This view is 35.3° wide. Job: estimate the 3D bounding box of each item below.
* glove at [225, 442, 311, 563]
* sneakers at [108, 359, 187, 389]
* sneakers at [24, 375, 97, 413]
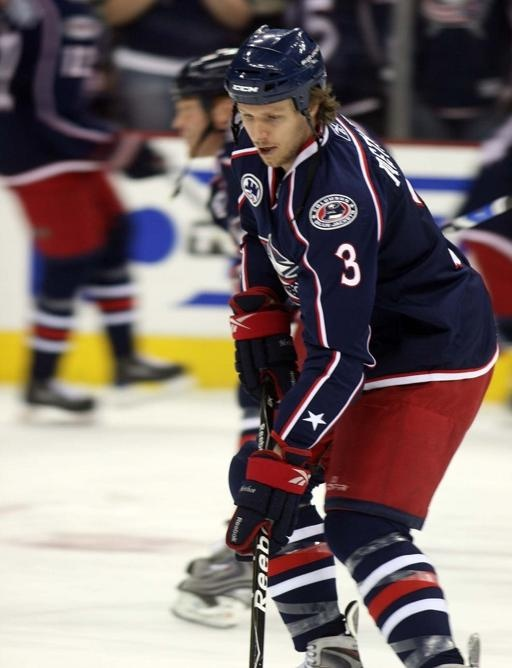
[{"bbox_3d":[0.054,0.296,1.401,0.168,0.171,0.138,12,-8,-12],"label":"glove"},{"bbox_3d":[-0.591,0.212,4.305,0.440,0.137,0.127,-4,3,-7],"label":"sneakers"},{"bbox_3d":[-1.011,0.325,4.071,0.464,0.149,0.139,2,0,12],"label":"sneakers"}]
